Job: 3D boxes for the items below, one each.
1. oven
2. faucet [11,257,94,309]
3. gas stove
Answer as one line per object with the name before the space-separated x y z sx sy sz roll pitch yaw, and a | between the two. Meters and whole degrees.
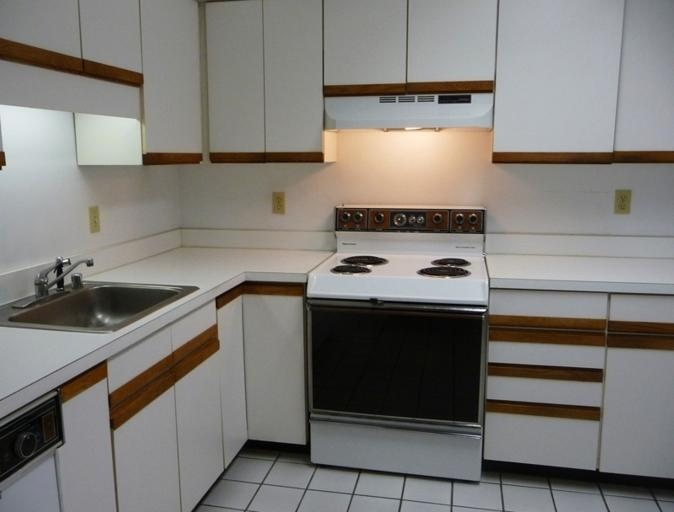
oven | 0.336 0.618 2.843 0.945 0.972 0.810 3 12 2
faucet | -1.269 0.091 2.257 0.301 0.171 0.364 -7 12 -33
gas stove | 0.364 -0.036 2.766 0.883 0.426 0.742 2 10 15
